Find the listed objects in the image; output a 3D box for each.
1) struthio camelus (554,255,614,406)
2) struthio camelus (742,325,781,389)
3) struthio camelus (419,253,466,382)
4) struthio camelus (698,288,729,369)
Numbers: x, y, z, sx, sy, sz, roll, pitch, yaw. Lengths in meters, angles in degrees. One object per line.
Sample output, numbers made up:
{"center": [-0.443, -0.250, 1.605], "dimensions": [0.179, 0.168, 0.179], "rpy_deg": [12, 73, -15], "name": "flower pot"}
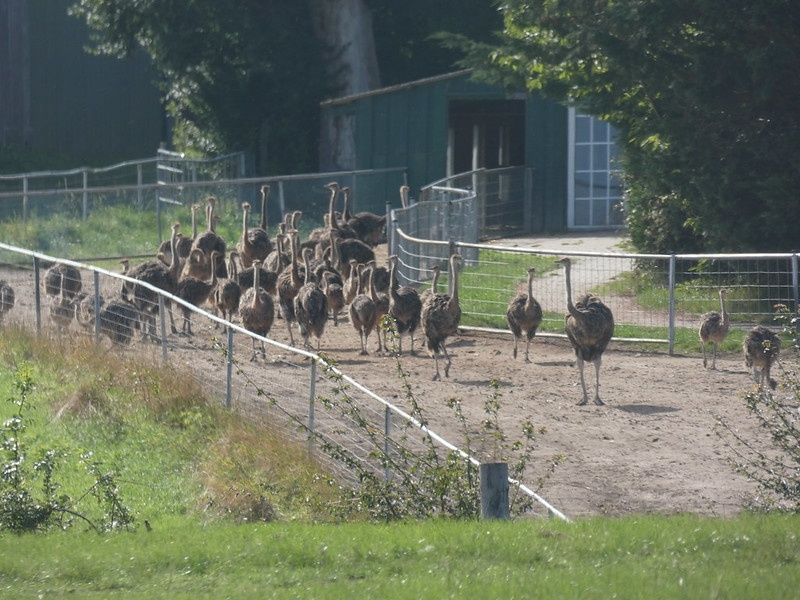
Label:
{"center": [3.685, 0.701, 33.365], "dimensions": [0.921, 2.774, 1.185], "rpy_deg": [1, -1, -7], "name": "struthio camelus"}
{"center": [7.291, 0.975, 33.809], "dimensions": [0.675, 1.632, 1.874], "rpy_deg": [3, -1, 15], "name": "struthio camelus"}
{"center": [0.801, 0.349, 34.927], "dimensions": [0.790, 2.616, 1.776], "rpy_deg": [1, -1, 0], "name": "struthio camelus"}
{"center": [6.498, 0.618, 35.105], "dimensions": [0.587, 1.669, 1.189], "rpy_deg": [1, -1, 10], "name": "struthio camelus"}
